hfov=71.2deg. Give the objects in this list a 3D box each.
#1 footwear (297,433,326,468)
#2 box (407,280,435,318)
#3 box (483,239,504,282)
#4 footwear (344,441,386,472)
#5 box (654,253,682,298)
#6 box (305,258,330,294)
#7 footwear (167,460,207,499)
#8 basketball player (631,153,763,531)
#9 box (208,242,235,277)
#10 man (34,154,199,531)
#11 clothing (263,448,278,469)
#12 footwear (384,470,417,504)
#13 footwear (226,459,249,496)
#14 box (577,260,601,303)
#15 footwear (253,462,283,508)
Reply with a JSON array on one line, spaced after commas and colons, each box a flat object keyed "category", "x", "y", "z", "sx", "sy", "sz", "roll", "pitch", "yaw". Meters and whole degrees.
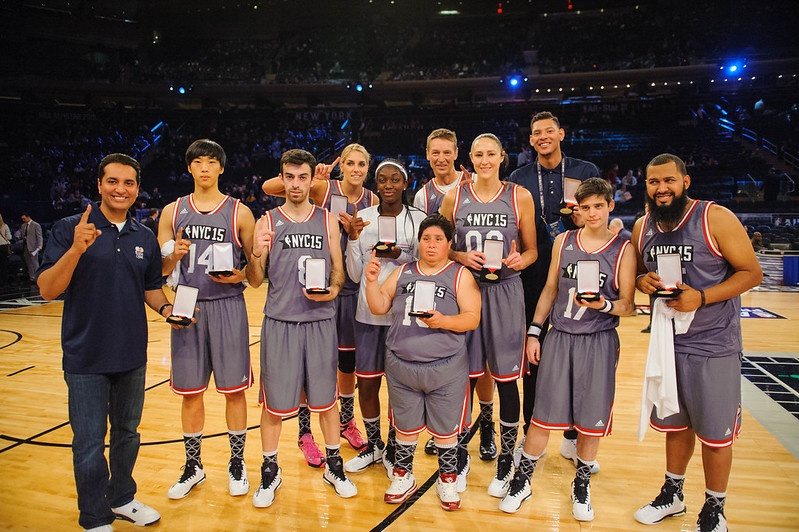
[{"category": "footwear", "x": -0.918, "y": 1.925, "z": 5.888, "sx": 0.166, "sy": 0.188, "sz": 0.438, "roll": -4, "pitch": 10, "yaw": -37}, {"category": "box", "x": 0.212, "y": 0.294, "z": 4.996, "sx": 0.271, "sy": 0.368, "sz": 0.303, "roll": 6, "pitch": 8, "yaw": 8}, {"category": "box", "x": 0.879, "y": -0.051, "z": 5.220, "sx": 0.190, "sy": 0.378, "sz": 0.071, "roll": 9, "pitch": 17, "yaw": 29}, {"category": "footwear", "x": -0.325, "y": 1.955, "z": 5.880, "sx": 0.526, "sy": 0.240, "sz": 0.191, "roll": -4, "pitch": 15, "yaw": -44}, {"category": "box", "x": 2.269, "y": 0.078, "z": 4.758, "sx": 0.317, "sy": 0.345, "sz": 0.239, "roll": -11, "pitch": 7, "yaw": -38}, {"category": "box", "x": -0.751, "y": 0.087, "z": 5.074, "sx": 0.200, "sy": 0.310, "sz": 0.156, "roll": -1, "pitch": 5, "yaw": -17}, {"category": "footwear", "x": -2.073, "y": 2.029, "z": 5.444, "sx": 0.154, "sy": 0.283, "sz": 0.468, "roll": -2, "pitch": 3, "yaw": 14}, {"category": "basketball player", "x": 2.599, "y": 0.672, "z": 4.972, "sx": 0.967, "sy": 3.329, "sz": 0.592, "roll": 3, "pitch": 5, "yaw": 32}, {"category": "box", "x": -1.613, "y": -0.058, "z": 5.101, "sx": 0.306, "sy": 0.291, "sz": 0.269, "roll": 1, "pitch": -1, "yaw": -13}, {"category": "man", "x": -2.573, "y": 0.685, "z": 4.922, "sx": 0.982, "sy": 3.349, "sz": 0.520, "roll": -3, "pitch": 5, "yaw": -33}, {"category": "clothing", "x": -1.247, "y": 1.853, "z": 5.395, "sx": 0.152, "sy": 0.159, "sz": 0.149, "roll": 2, "pitch": -4, "yaw": -25}, {"category": "footwear", "x": 0.003, "y": 2.090, "z": 5.370, "sx": 0.192, "sy": 0.246, "sz": 0.544, "roll": 0, "pitch": 1, "yaw": 25}, {"category": "footwear", "x": -1.555, "y": 2.042, "z": 5.424, "sx": 0.148, "sy": 0.169, "sz": 0.392, "roll": -1, "pitch": 13, "yaw": -17}, {"category": "box", "x": 1.712, "y": 0.109, "z": 5.079, "sx": 0.252, "sy": 0.328, "sz": 0.244, "roll": 1, "pitch": 8, "yaw": 23}, {"category": "footwear", "x": -1.248, "y": 2.072, "z": 5.295, "sx": 0.163, "sy": 0.253, "sz": 0.454, "roll": 1, "pitch": 7, "yaw": 6}]
